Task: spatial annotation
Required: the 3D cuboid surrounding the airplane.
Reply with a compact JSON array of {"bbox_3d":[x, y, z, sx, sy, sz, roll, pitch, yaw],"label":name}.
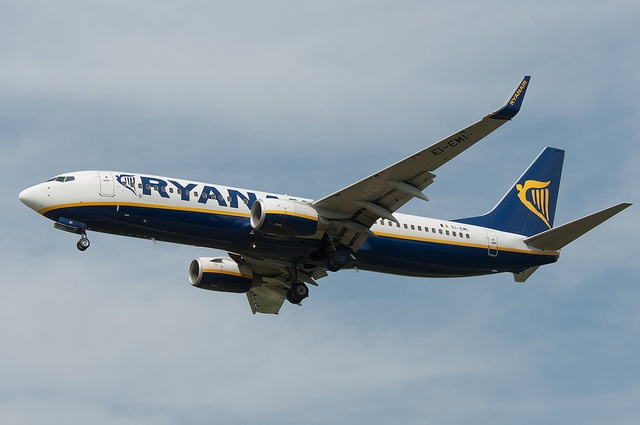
[{"bbox_3d":[-0.113,0.927,39.809,17.828,5.168,13.729,10,-32,-18],"label":"airplane"}]
